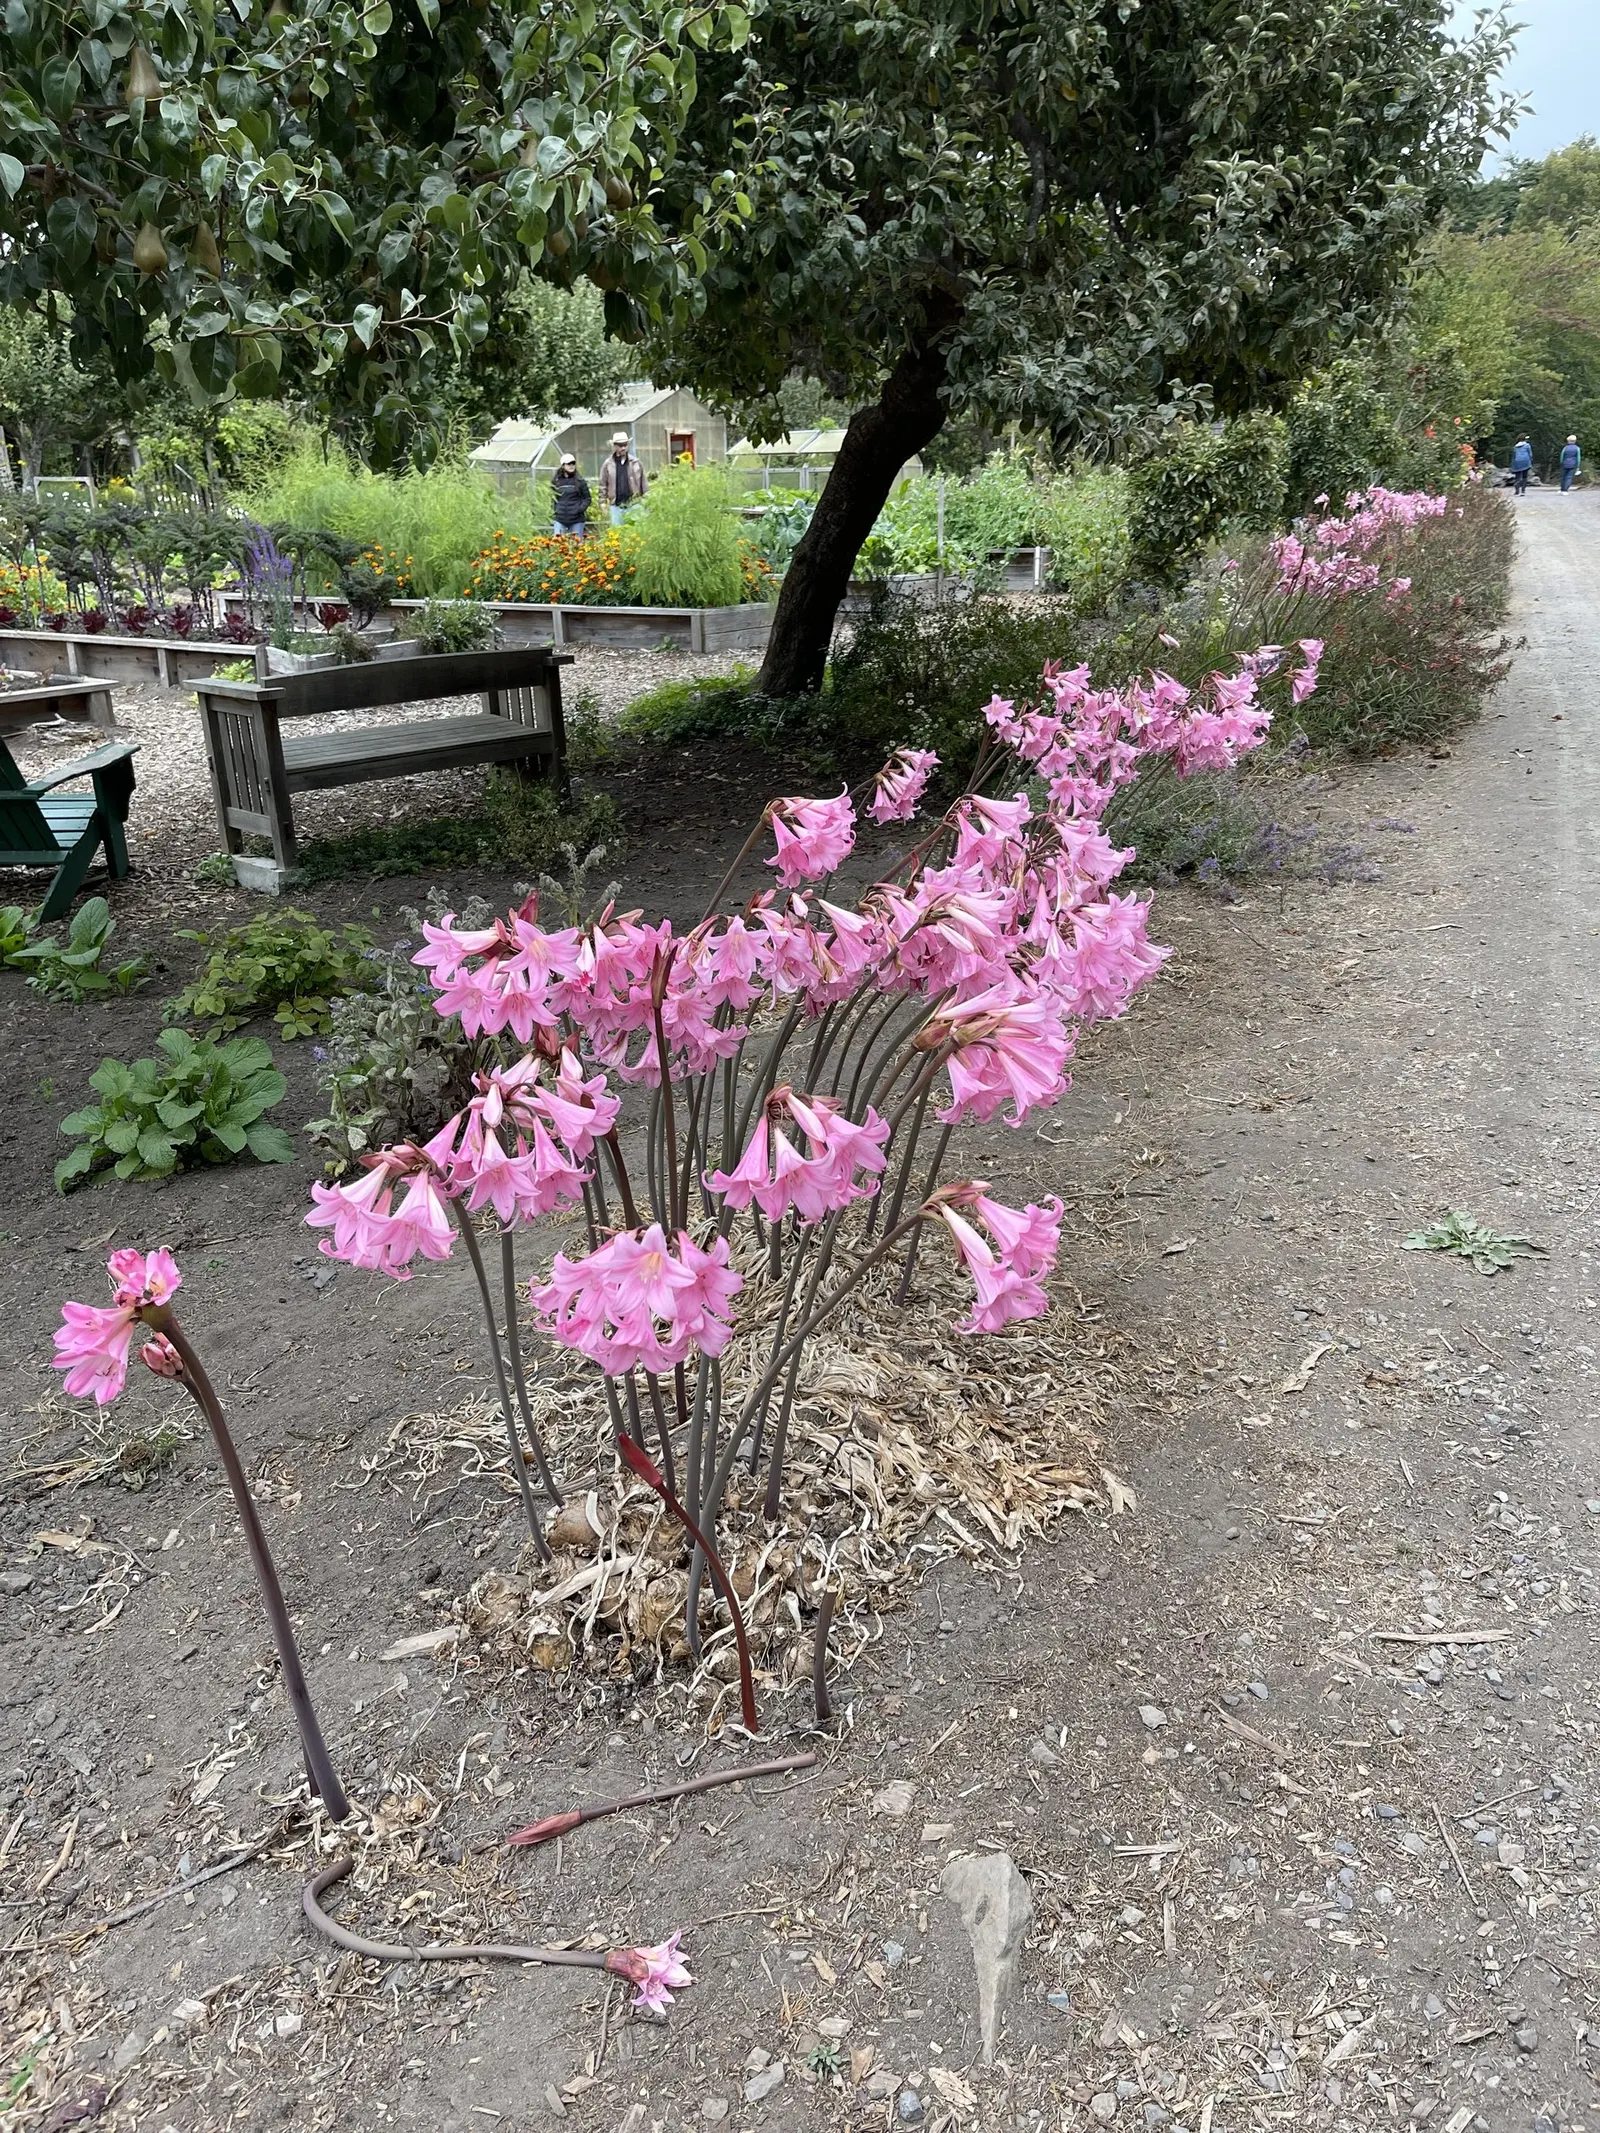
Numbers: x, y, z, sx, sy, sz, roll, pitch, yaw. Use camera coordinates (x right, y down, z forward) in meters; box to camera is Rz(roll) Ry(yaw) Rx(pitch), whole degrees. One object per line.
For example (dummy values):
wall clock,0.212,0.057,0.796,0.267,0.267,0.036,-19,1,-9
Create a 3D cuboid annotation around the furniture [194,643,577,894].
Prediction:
furniture,-1.969,-1.528,7.539,1.667,0.938,0.672,-19,20,-36
